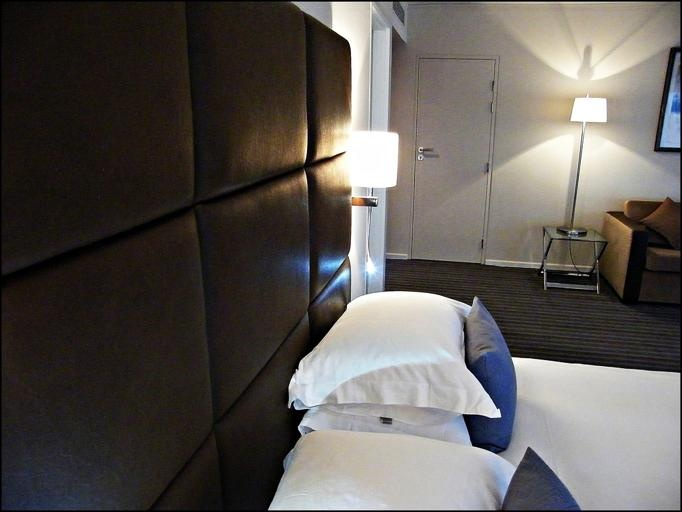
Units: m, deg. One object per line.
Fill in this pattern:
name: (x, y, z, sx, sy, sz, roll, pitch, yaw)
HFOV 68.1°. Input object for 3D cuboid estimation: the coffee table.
coffee table: (1.608, 0.016, 3.530, 0.358, 0.377, 0.550, 4, 24, 13)

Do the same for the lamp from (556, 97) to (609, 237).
lamp: (1.645, -0.618, 3.444, 0.218, 0.967, 0.441, 8, 10, 26)

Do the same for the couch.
couch: (1.569, -0.003, 2.682, 0.515, 0.543, 0.562, 4, 12, 22)
